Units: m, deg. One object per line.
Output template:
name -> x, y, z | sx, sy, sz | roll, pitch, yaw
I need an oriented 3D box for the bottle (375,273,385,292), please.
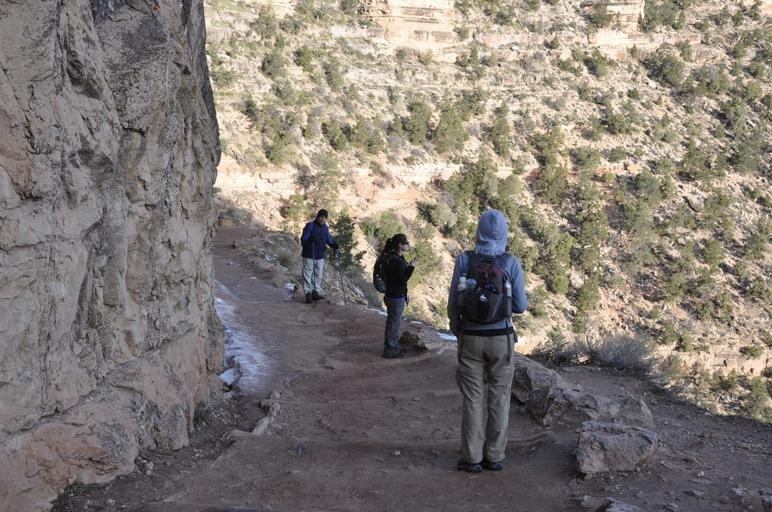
bottle -> -0.135, 0.587, 16.981 | 0.236, 0.408, 0.185 | 7, 19, 13

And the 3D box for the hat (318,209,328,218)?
hat -> -1.518, -1.021, 19.845 | 0.196, 0.163, 0.205 | 1, -1, -14

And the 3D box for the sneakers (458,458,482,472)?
sneakers -> 1.373, 3.475, 13.616 | 0.378, 0.199, 0.177 | 15, 15, 40

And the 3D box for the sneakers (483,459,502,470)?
sneakers -> 1.770, 3.459, 13.633 | 0.121, 0.152, 0.328 | -11, 19, -40

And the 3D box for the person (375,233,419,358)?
person -> 0.146, 0.840, 17.294 | 0.806, 2.742, 1.265 | 2, 19, 1

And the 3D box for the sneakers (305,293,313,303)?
sneakers -> -1.978, 1.080, 21.182 | 0.132, 0.267, 0.133 | 1, 11, -1
